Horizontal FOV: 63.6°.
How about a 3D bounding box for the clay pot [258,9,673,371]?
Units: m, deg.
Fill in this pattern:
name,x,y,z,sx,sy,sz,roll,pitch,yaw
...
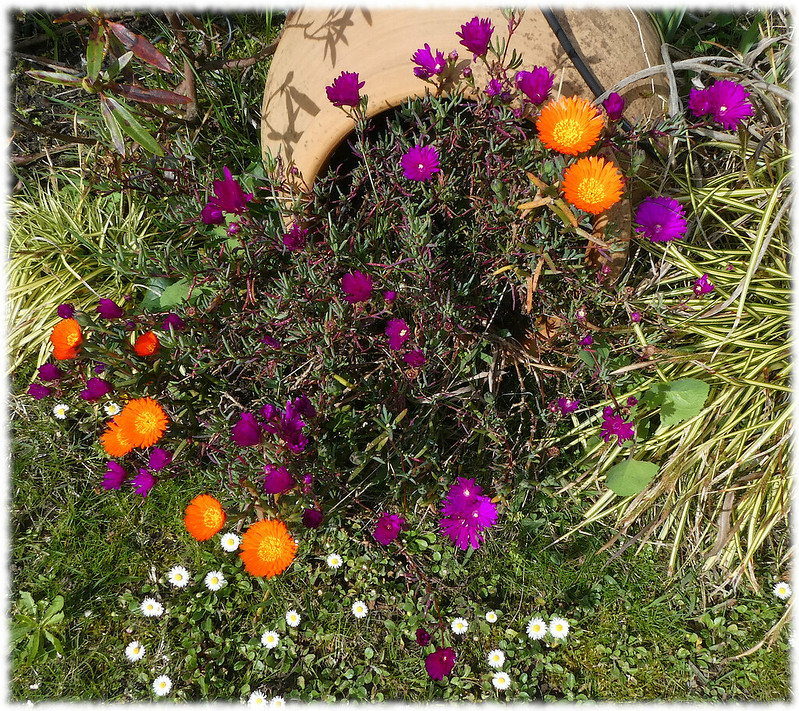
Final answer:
name,x,y,z,sx,sy,sz,roll,pitch,yaw
clay pot,0.174,-0.375,1.441,0.754,0.544,0.810,1,-58,2
